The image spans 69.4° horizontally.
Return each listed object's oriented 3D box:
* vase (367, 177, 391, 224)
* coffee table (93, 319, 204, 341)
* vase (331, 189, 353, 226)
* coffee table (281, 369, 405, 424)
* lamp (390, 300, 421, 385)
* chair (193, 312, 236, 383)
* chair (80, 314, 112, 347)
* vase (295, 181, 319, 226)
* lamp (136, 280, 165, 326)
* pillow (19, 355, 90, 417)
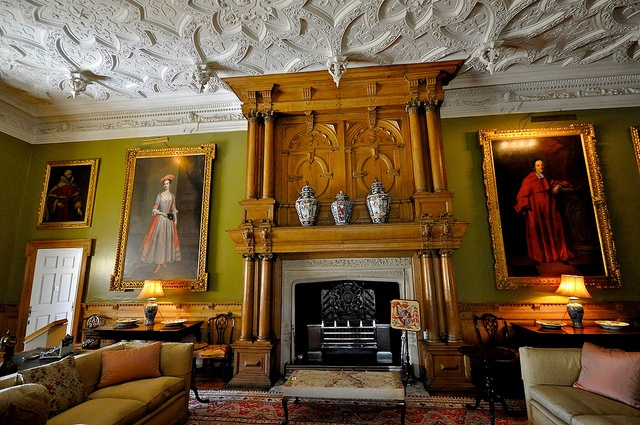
[{"bbox_3d":[1.026,-0.207,8.080,0.430,0.839,0.270,-3,-10,6],"label":"vase"},{"bbox_3d":[-3.073,2.151,8.186,1.881,0.364,0.747,-1,-8,-3],"label":"coffee table"},{"bbox_3d":[0.411,-0.083,8.154,0.405,0.607,0.271,0,-10,-10],"label":"vase"},{"bbox_3d":[0.326,2.756,6.833,1.751,0.695,0.661,-1,-9,-5],"label":"coffee table"},{"bbox_3d":[1.476,2.169,7.791,0.494,1.406,0.526,-4,-10,12],"label":"lamp"},{"bbox_3d":[-1.876,2.377,8.293,0.684,1.100,0.950,0,-9,-13],"label":"chair"},{"bbox_3d":[-4.175,2.178,8.436,0.571,0.761,0.569,5,-19,-18],"label":"chair"},{"bbox_3d":[-0.223,-0.153,8.166,0.412,0.843,0.268,-1,-10,-3],"label":"vase"},{"bbox_3d":[-3.100,1.651,8.527,0.431,0.801,0.540,1,-10,-17],"label":"lamp"},{"bbox_3d":[-3.469,2.315,6.085,0.319,0.506,0.670,-16,-6,20],"label":"pillow"}]
